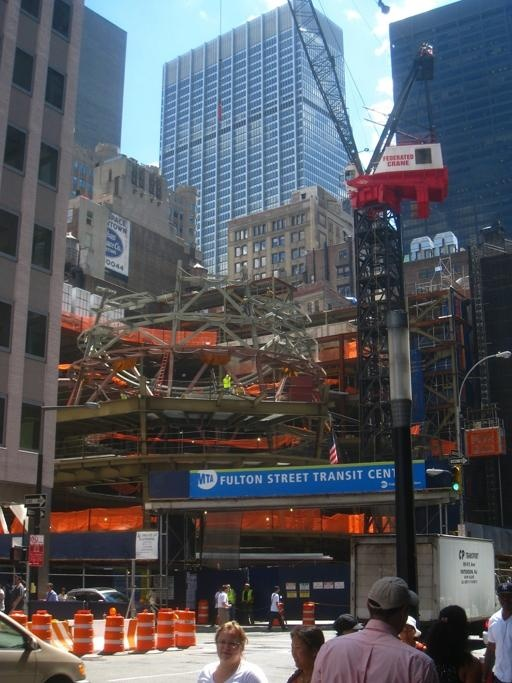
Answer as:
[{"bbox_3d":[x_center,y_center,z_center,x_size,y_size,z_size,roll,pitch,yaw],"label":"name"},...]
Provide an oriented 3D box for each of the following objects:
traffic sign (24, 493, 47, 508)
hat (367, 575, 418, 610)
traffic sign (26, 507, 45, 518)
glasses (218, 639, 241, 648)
[{"bbox_3d":[-6.329,4.593,28.108,0.366,0.441,0.946,10,-19,-37],"label":"traffic sign"},{"bbox_3d":[1.003,1.841,7.059,0.338,0.182,0.199,-9,15,-30],"label":"hat"},{"bbox_3d":[-6.459,5.001,28.618,0.609,0.482,0.080,6,14,25],"label":"traffic sign"},{"bbox_3d":[-0.236,2.626,8.455,0.185,0.068,0.068,-2,-15,-2],"label":"glasses"}]
